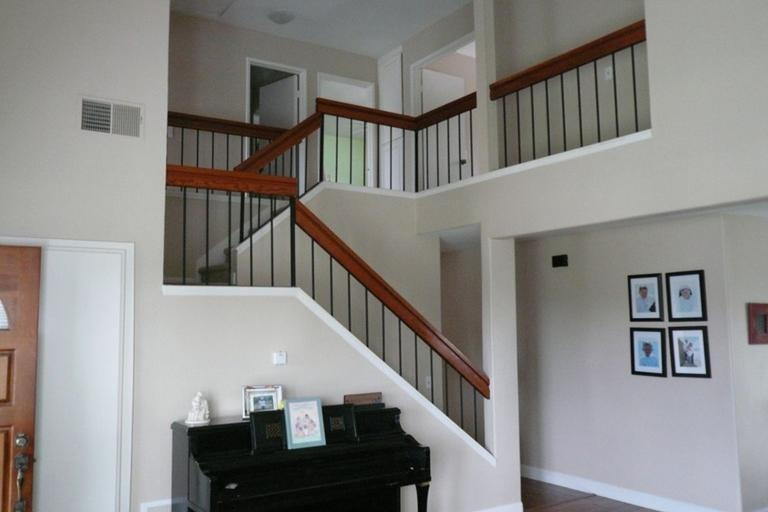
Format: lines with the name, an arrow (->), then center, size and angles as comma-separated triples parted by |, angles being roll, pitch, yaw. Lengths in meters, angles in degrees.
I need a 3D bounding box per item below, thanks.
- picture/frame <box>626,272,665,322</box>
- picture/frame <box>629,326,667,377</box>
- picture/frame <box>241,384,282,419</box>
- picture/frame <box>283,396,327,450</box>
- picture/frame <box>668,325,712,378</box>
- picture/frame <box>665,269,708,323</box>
picture/frame -> 2.747, 0.437, 6.246 | 0.065, 0.675, 0.465 | 2, -5, -34
picture/frame -> 2.750, 1.002, 6.192 | 0.066, 0.699, 0.487 | 3, -5, -34
picture/frame -> -1.011, 1.206, 4.897 | 0.228, 0.210, 0.031 | 5, -21, -24
picture/frame -> -0.645, 1.367, 4.817 | 0.337, 0.401, 0.051 | 5, -28, -31
picture/frame -> 3.038, 0.954, 5.911 | 0.066, 0.661, 0.466 | 3, -8, -32
picture/frame -> 3.031, 0.406, 5.964 | 0.069, 0.695, 0.480 | 5, -6, -37
